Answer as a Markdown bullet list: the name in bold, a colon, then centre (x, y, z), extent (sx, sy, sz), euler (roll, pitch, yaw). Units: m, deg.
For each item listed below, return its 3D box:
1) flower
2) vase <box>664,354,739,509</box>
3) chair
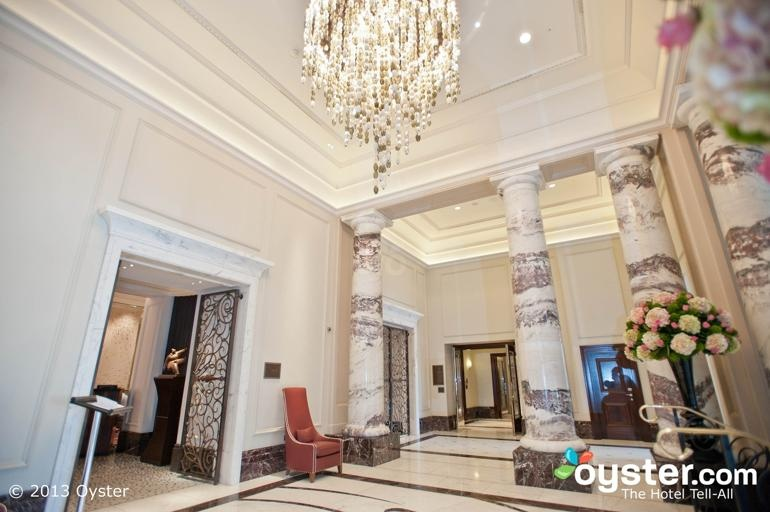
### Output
- **flower**: centre (3.318, 0.963, 4.796), extent (1.034, 1.126, 0.923), euler (-4, 6, 33)
- **vase**: centre (3.406, 1.905, 4.443), extent (0.418, 1.613, 0.635), euler (-10, -17, 34)
- **chair**: centre (-1.291, 2.985, 7.213), extent (0.956, 1.396, 0.771), euler (-9, -16, 31)
